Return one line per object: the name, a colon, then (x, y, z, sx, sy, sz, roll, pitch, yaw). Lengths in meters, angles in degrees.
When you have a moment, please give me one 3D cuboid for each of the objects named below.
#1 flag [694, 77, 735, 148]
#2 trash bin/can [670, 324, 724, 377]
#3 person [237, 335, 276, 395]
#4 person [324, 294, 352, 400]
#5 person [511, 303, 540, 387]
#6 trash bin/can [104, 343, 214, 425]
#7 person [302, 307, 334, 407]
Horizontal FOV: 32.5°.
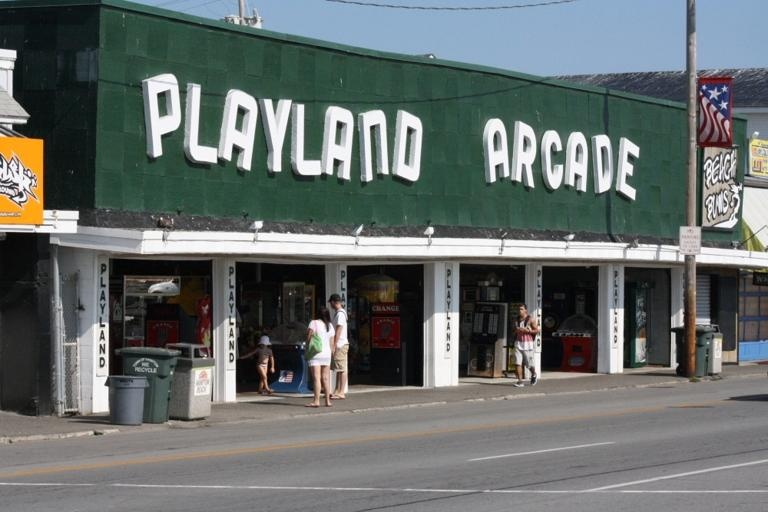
flag: (11.102, -4.903, 44.506, 1.175, 2.499, 0.095, 2, -13, 5)
trash bin/can: (10.239, 3.224, 43.782, 1.506, 2.141, 1.598, -4, -7, 35)
person: (-3.613, 3.241, 38.312, 0.848, 1.748, 0.497, 0, -1, 21)
person: (-1.352, 2.495, 36.414, 0.805, 2.735, 0.844, 0, -5, -3)
person: (4.380, 2.805, 40.747, 0.735, 2.518, 0.736, 0, 0, 6)
trash bin/can: (-5.678, 3.430, 33.941, 1.668, 2.378, 2.709, 2, 7, 31)
person: (-1.833, 2.788, 35.833, 0.771, 2.600, 0.785, 0, -1, 13)
